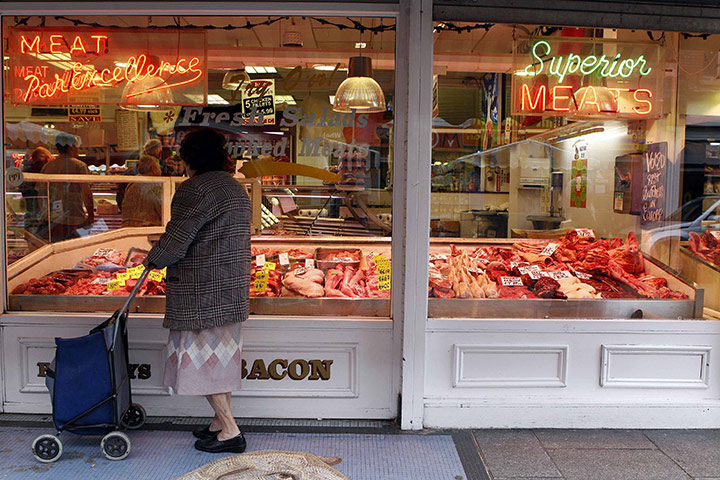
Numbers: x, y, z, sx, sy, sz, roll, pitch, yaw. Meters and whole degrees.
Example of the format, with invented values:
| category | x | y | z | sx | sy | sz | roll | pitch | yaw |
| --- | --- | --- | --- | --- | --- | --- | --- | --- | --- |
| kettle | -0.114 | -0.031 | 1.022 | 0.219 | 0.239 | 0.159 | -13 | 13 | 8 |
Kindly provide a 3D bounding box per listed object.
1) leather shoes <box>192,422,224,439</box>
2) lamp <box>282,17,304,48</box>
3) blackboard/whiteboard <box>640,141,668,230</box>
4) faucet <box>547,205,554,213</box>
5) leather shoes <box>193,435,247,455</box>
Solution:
| category | x | y | z | sx | sy | sz | roll | pitch | yaw |
| --- | --- | --- | --- | --- | --- | --- | --- | --- | --- |
| leather shoes | -1.295 | 1.617 | 5.379 | 0.299 | 0.105 | 0.112 | 4 | 1 | 6 |
| lamp | -0.652 | -1.966 | 6.086 | 0.205 | 0.212 | 0.366 | -3 | 8 | -7 |
| blackboard/whiteboard | 2.956 | -0.529 | 6.435 | 0.304 | 0.741 | 0.039 | -5 | 11 | -11 |
| faucet | 1.955 | -0.314 | 6.536 | 0.067 | 0.120 | 0.068 | 6 | 12 | 15 |
| leather shoes | -1.137 | 1.692 | 5.226 | 0.374 | 0.144 | 0.165 | 5 | -7 | -2 |
